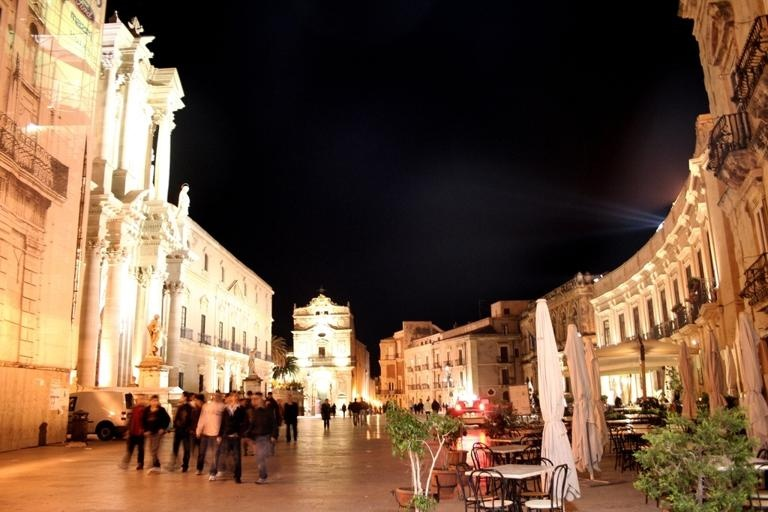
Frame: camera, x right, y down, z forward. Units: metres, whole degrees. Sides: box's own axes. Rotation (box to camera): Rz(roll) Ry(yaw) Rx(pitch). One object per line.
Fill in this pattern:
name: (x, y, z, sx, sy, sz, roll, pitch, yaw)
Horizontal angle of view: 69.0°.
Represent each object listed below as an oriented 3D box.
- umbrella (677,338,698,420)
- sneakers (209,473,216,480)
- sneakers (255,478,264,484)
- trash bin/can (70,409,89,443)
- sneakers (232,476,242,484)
umbrella: (9.413, 3.828, 17.674, 0.501, 2.422, 1.197, -14, -23, 28)
sneakers: (-4.611, 5.886, 14.951, 0.223, 0.131, 0.168, -4, -9, 12)
sneakers: (-3.205, 5.786, 14.478, 0.255, 0.130, 0.123, -12, -23, 22)
trash bin/can: (-11.971, 6.706, 22.117, 0.600, 1.288, 0.883, 7, -23, -24)
sneakers: (-3.817, 5.842, 14.628, 0.231, 0.267, 0.163, -1, -11, -4)
